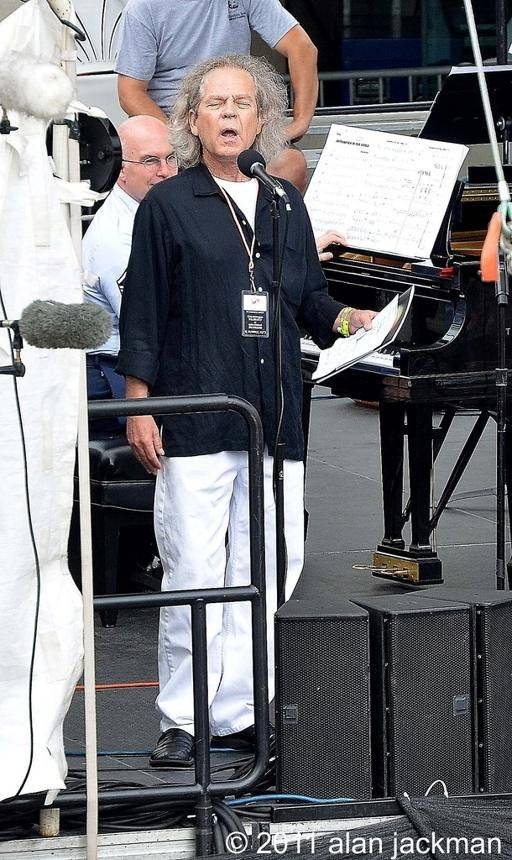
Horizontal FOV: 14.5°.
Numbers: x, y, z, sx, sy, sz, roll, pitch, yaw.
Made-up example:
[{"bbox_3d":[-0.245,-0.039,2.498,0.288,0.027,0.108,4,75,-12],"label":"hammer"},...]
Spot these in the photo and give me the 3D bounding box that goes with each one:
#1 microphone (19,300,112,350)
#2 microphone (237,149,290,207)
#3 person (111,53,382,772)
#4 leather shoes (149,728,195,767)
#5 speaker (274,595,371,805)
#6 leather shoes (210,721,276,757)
[{"bbox_3d":[-0.343,-0.184,3.579,0.164,0.091,0.089,-4,13,-7],"label":"microphone"},{"bbox_3d":[0.003,-0.572,4.454,0.098,0.121,0.138,-5,18,-18],"label":"microphone"},{"bbox_3d":[-0.057,-0.111,4.590,0.451,1.666,0.453,-1,3,-8],"label":"person"},{"bbox_3d":[-0.188,0.707,4.478,0.097,0.050,0.116,-2,14,0],"label":"leather shoes"},{"bbox_3d":[0.147,0.577,4.215,0.262,0.632,0.302,0,1,4],"label":"speaker"},{"bbox_3d":[-0.021,0.717,4.633,0.120,0.053,0.106,-3,0,9],"label":"leather shoes"}]
